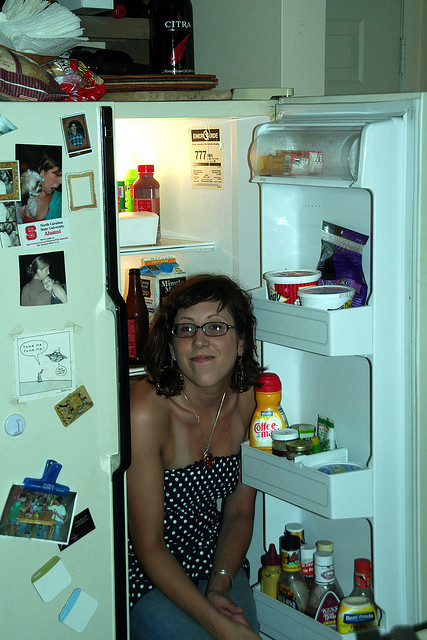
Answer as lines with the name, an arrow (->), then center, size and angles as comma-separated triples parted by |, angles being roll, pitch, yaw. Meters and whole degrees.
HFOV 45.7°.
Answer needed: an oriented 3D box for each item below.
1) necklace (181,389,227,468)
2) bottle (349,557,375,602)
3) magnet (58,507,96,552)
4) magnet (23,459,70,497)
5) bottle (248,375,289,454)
necklace -> -0.023, 0.282, 1.295 | 0.095, 0.175, 0.122 | -3, 17, -19
bottle -> 0.321, 0.589, 1.106 | 0.053, 0.130, 0.053 | 2, -4, 0
magnet -> -0.277, 0.410, 1.017 | 0.101, 0.063, 0.023 | -28, 19, -35
magnet -> -0.323, 0.299, 0.969 | 0.074, 0.058, 0.024 | 15, 10, -31
bottle -> 0.137, 0.234, 1.273 | 0.091, 0.229, 0.060 | 8, 30, 17
